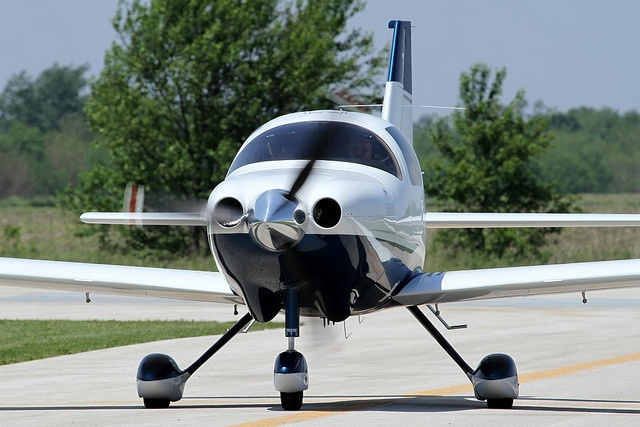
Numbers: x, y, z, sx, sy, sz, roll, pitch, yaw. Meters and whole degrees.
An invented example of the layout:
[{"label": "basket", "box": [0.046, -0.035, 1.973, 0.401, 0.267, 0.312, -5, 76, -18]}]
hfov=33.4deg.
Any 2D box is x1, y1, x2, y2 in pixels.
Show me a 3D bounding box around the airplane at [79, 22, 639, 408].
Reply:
[{"label": "airplane", "box": [1.272, 0.545, 19.922, 9.009, 3.956, 7.059, -1, -1, 13]}]
